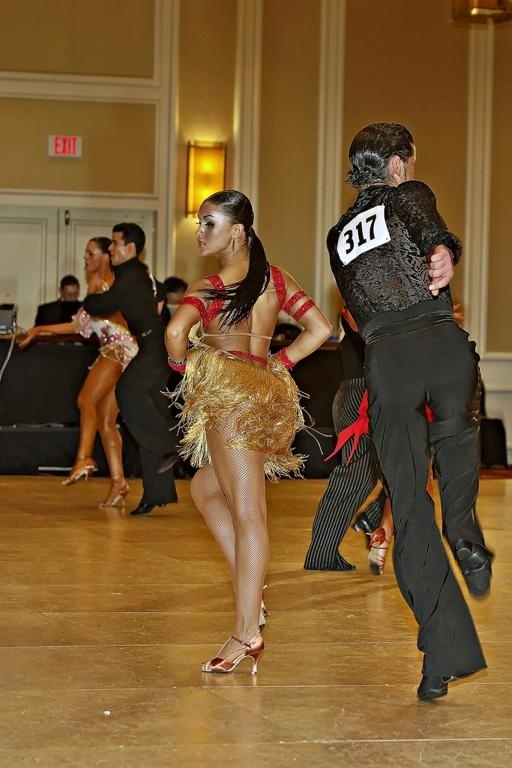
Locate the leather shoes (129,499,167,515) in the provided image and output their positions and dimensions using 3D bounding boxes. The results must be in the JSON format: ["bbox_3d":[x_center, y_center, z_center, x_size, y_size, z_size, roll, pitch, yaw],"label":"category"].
[{"bbox_3d":[-0.674,0.796,4.307,0.277,0.102,0.094,-1,-1,-9],"label":"leather shoes"}]

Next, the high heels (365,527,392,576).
[{"bbox_3d":[0.530,0.716,2.874,0.084,0.209,0.071,-6,-8,37],"label":"high heels"}]

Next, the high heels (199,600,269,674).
[{"bbox_3d":[-0.050,0.658,1.734,0.217,0.196,0.100,1,-3,5],"label":"high heels"}]

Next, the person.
[{"bbox_3d":[0.193,0.053,1.644,0.800,1.353,0.502,1,7,32],"label":"person"}]

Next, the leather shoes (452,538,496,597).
[{"bbox_3d":[0.486,0.406,1.481,0.060,0.164,0.074,-22,1,26],"label":"leather shoes"}]
